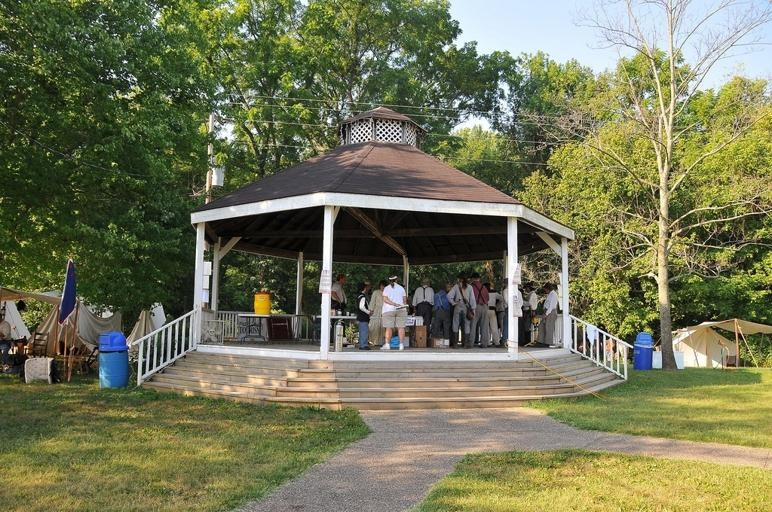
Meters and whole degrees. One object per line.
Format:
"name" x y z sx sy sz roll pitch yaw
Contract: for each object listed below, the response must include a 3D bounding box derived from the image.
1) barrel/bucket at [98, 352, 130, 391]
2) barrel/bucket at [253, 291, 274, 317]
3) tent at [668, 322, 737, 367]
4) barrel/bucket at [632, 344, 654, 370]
"barrel/bucket" -8.718 3.633 21.992 1.021 1.135 1.039 -1 -9 0
"barrel/bucket" -4.205 1.539 23.595 0.533 0.742 1.716 -1 9 -12
"tent" 18.557 5.036 39.755 3.812 2.767 2.260 -2 10 -22
"barrel/bucket" 10.686 4.199 28.425 0.888 0.994 0.922 1 -11 0
